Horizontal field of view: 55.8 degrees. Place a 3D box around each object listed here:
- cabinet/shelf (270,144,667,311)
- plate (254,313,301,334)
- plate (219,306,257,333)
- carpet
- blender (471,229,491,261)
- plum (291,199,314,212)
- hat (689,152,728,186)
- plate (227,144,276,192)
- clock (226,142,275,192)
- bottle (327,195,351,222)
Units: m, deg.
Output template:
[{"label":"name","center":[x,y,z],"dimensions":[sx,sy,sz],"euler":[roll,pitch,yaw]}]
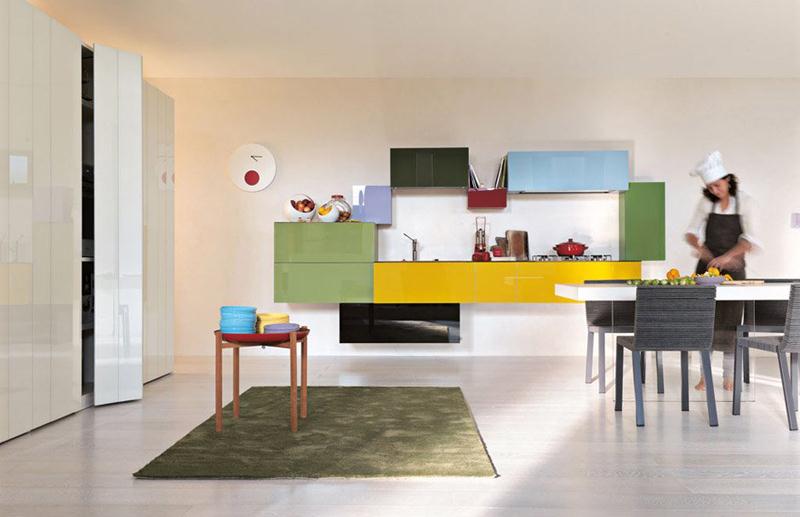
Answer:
[{"label":"cabinet/shelf","center":[0.699,-0.299,8.289],"dimensions":[4.127,1.695,0.621],"euler":[0,8,2]},{"label":"plate","center":[-1.006,0.526,6.130],"dimensions":[0.225,0.128,0.223],"euler":[-1,-1,13]},{"label":"plate","center":[-1.317,0.486,6.112],"dimensions":[0.235,0.162,0.241],"euler":[0,-2,40]},{"label":"carpet","center":[-0.551,1.454,6.105],"dimensions":[2.562,0.174,1.204],"euler":[-1,8,-1]},{"label":"blender","center":[0.891,-0.126,8.354],"dimensions":[0.191,0.338,0.170],"euler":[1,-23,5]},{"label":"plum","center":[-1.071,-0.565,8.268],"dimensions":[0.166,0.071,0.169],"euler":[1,-1,36]},{"label":"hat","center":[3.182,-0.906,7.670],"dimensions":[0.440,0.321,0.344],"euler":[-14,8,-33]},{"label":"plate","center":[-1.699,-1.004,8.487],"dimensions":[0.558,0.510,0.123],"euler":[10,3,2]},{"label":"clock","center":[-1.689,-1.007,8.487],"dimensions":[0.560,0.511,0.122],"euler":[8,3,3]},{"label":"bottle","center":[-0.647,-0.537,8.318],"dimensions":[0.302,0.292,0.255],"euler":[-3,-1,-2]}]
